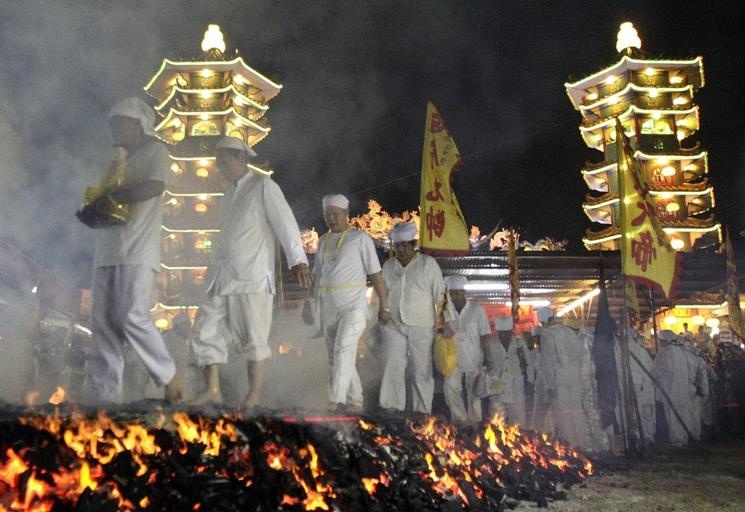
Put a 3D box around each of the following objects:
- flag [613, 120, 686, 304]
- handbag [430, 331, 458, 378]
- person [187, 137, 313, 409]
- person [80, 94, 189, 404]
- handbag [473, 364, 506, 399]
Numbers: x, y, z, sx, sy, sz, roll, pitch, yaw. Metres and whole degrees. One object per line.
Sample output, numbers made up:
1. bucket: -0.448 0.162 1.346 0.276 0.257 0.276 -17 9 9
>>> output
1. flag: 3.537 -0.684 8.895 0.565 2.576 1.184 -15 -22 37
2. handbag: 0.886 1.211 8.296 0.218 0.584 0.412 7 -30 -18
3. person: -1.293 0.168 6.996 0.895 2.811 0.994 13 -22 -38
4. person: -2.395 0.063 6.668 0.901 2.675 0.643 -3 -17 8
5. handbag: 1.697 1.786 9.371 0.517 0.332 0.274 9 10 -37
